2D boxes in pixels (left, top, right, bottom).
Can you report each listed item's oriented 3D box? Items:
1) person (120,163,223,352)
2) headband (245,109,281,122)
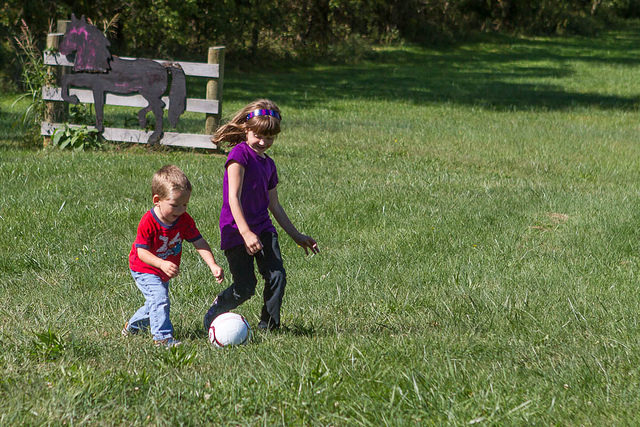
[{"bbox_3d":[-2.532,0.643,16.148,1.334,2.829,0.942,0,15,-18],"label":"person"},{"bbox_3d":[-0.929,-1.650,16.303,0.556,0.222,0.116,5,15,-3],"label":"headband"}]
